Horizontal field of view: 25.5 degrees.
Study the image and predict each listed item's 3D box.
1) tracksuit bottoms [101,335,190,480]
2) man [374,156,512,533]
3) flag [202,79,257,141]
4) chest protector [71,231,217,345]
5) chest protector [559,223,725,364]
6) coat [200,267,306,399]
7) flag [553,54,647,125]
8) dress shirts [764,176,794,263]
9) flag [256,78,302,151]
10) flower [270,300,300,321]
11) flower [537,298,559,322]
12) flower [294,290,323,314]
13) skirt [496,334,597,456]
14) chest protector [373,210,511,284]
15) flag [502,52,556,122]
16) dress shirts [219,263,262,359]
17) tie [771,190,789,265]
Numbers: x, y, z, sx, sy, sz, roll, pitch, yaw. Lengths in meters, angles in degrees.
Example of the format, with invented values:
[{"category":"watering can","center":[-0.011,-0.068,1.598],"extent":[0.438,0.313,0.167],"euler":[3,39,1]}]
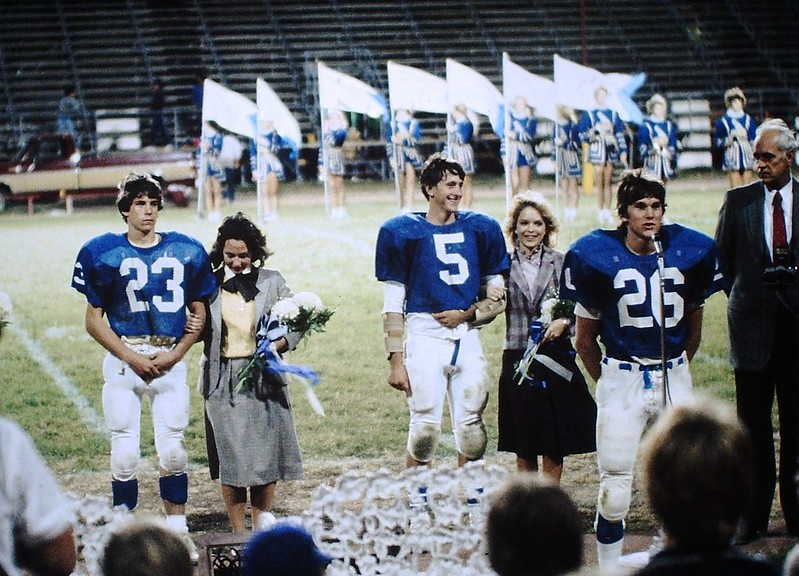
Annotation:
[{"category":"tracksuit bottoms","center":[-2.435,1.340,16.897],"extent":[0.819,1.619,0.562],"euler":[-1,-22,-10]},{"category":"man","center":[0.466,0.596,16.932],"extent":[1.266,3.673,1.214],"euler":[-1,9,-2]},{"category":"flag","center":[-2.012,-2.100,20.918],"extent":[0.628,0.697,0.442],"euler":[-3,3,-8]},{"category":"chest protector","center":[-2.399,0.019,16.815],"extent":[1.069,0.867,0.440],"euler":[-1,8,-4]},{"category":"chest protector","center":[2.286,0.184,16.430],"extent":[1.439,1.468,0.796],"euler":[-2,-8,0]},{"category":"coat","center":[-1.446,0.439,16.849],"extent":[1.106,1.169,0.602],"euler":[1,-5,-4]},{"category":"flag","center":[2.572,-2.579,23.342],"extent":[1.480,1.122,0.070],"euler":[-1,14,-27]},{"category":"dress shirts","center":[3.575,-0.639,16.821],"extent":[0.208,0.800,0.761],"euler":[0,-7,12]},{"category":"flag","center":[-1.478,-2.053,21.085],"extent":[0.407,0.851,0.903],"euler":[-1,3,13]},{"category":"flower","center":[-1.088,0.210,16.783],"extent":[0.195,0.119,0.200],"euler":[-1,1,-19]},{"category":"flower","center":[1.404,0.217,16.976],"extent":[0.168,0.219,0.077],"euler":[6,5,31]},{"category":"flower","center":[-0.855,0.142,16.845],"extent":[0.201,0.071,0.202],"euler":[4,17,-41]},{"category":"skirt","center":[1.402,1.044,16.936],"extent":[1.047,1.422,0.717],"euler":[-1,-1,-9]},{"category":"chest protector","center":[0.428,-0.273,17.080],"extent":[1.368,1.022,0.641],"euler":[-2,11,-9]},{"category":"flag","center":[1.565,-2.409,21.763],"extent":[0.351,0.694,0.945],"euler":[0,4,41]},{"category":"dress shirts","center":[-1.560,0.258,17.008],"extent":[0.370,0.880,0.346],"euler":[-3,18,-6]},{"category":"tie","center":[3.581,-0.548,16.773],"extent":[0.153,0.701,0.079],"euler":[-1,3,12]}]
